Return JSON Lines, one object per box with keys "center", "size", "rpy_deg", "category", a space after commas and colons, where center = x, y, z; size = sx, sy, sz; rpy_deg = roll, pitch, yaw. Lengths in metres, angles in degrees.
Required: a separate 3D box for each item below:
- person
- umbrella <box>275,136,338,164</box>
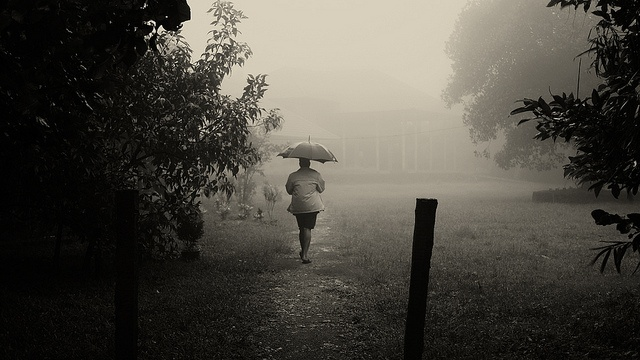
{"center": [-0.363, 0.730, 12.777], "size": [0.895, 2.394, 0.852], "rpy_deg": [1, 0, -3], "category": "person"}
{"center": [-0.285, -0.769, 13.154], "size": [1.325, 0.581, 1.311], "rpy_deg": [6, 1, 11], "category": "umbrella"}
